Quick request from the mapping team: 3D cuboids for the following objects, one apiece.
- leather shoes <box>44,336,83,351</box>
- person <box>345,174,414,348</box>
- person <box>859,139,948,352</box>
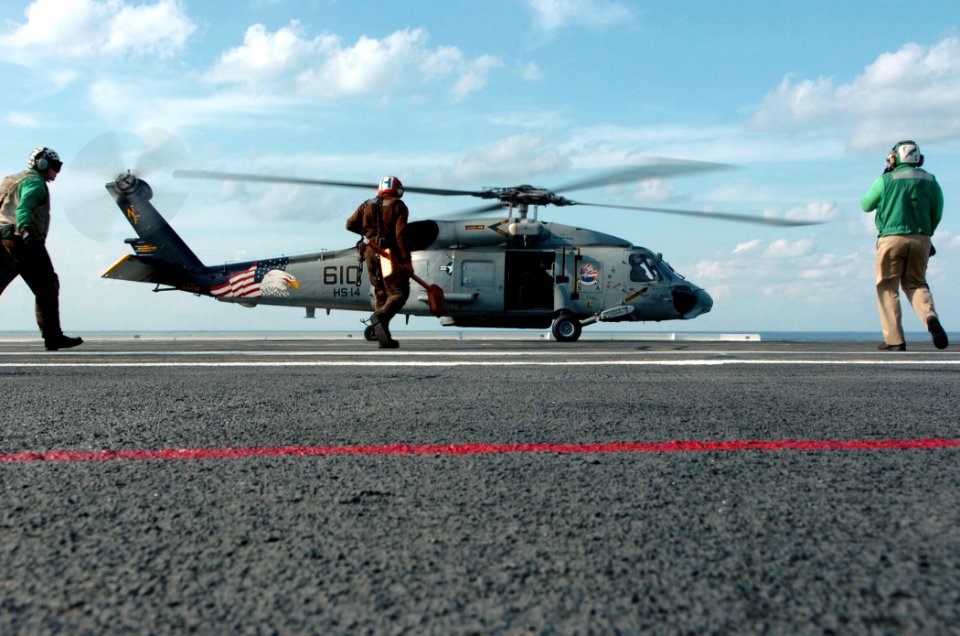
[{"bbox_3d":[-3.809,0.236,7.898,0.265,0.147,0.079,-14,33,-23],"label":"leather shoes"},{"bbox_3d":[-0.915,-0.515,8.095,0.566,1.627,0.883,-3,14,-7],"label":"person"},{"bbox_3d":[3.960,-0.646,7.943,0.707,1.924,0.966,-1,14,1],"label":"person"}]
